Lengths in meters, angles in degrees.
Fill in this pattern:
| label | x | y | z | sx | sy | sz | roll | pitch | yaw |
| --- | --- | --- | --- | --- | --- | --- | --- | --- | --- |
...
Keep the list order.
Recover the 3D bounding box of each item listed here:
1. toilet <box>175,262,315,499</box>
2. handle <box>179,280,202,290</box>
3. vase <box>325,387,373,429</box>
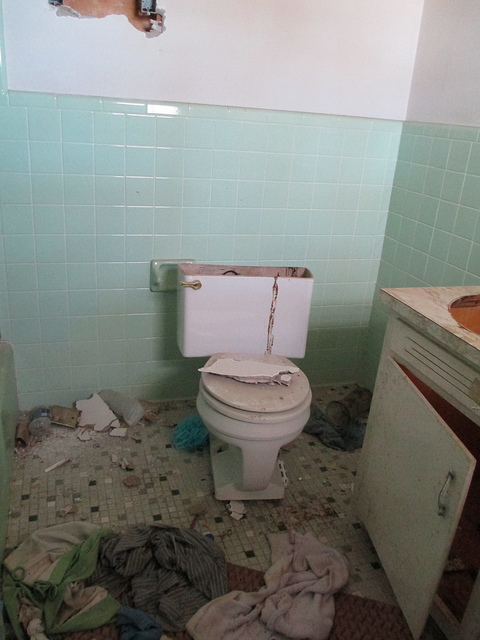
| label | x | y | z | sx | sy | sz | roll | pitch | yaw |
| --- | --- | --- | --- | --- | --- | --- | --- | --- | --- |
| toilet | 0.053 | 0.233 | 1.773 | 0.602 | 0.739 | 0.756 | 1 | 24 | -9 |
| handle | -0.182 | -0.135 | 1.736 | 0.060 | 0.034 | 0.025 | 3 | 1 | 4 |
| vase | 0.541 | 0.424 | 2.276 | 0.259 | 0.063 | 0.143 | -31 | 52 | -31 |
